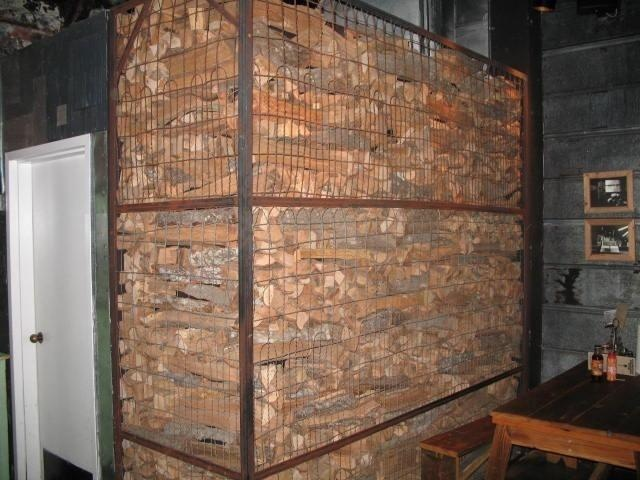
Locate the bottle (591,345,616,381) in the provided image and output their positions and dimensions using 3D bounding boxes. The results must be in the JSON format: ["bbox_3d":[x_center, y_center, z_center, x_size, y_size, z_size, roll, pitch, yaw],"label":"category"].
[{"bbox_3d":[1.981,0.868,3.965,0.177,0.272,0.090,2,-5,-4],"label":"bottle"}]
